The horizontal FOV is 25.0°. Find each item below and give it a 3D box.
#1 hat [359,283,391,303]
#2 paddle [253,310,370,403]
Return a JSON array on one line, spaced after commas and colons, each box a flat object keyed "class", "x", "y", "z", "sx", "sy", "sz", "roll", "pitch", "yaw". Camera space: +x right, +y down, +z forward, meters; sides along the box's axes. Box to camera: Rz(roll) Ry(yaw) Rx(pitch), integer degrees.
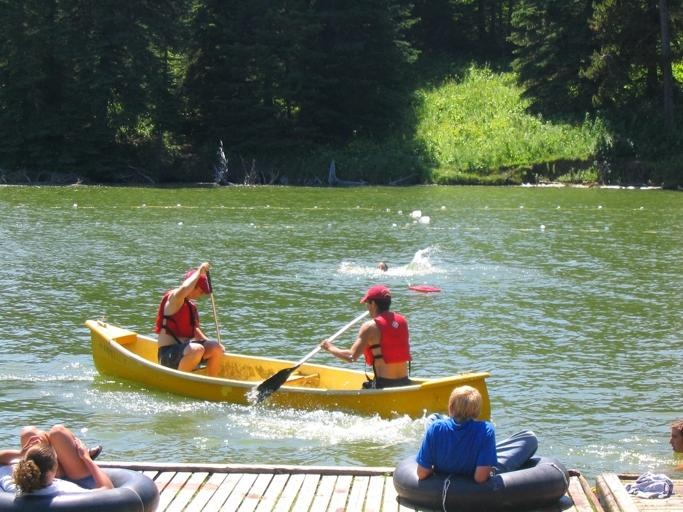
[{"class": "hat", "x": 1.056, "y": 1.145, "z": 46.215, "sx": 0.743, "sy": 0.442, "sz": 0.535, "roll": -14, "pitch": -2, "yaw": 19}, {"class": "paddle", "x": -0.702, "y": 2.876, "z": 47.334, "sx": 5.331, "sy": 0.291, "sz": 0.549, "roll": -34, "pitch": 50, "yaw": -31}]
